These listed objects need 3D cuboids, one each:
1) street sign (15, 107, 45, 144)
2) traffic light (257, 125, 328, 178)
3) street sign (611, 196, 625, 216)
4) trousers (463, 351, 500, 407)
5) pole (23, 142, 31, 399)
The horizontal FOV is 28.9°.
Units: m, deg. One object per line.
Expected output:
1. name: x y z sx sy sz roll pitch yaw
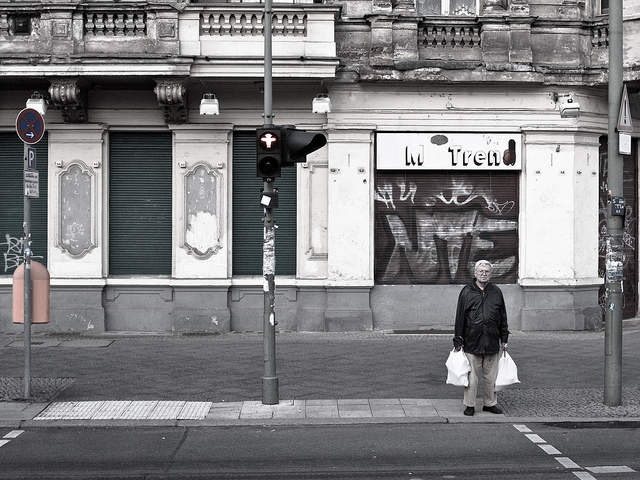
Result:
1. street sign: -4.859 -1.901 20.987 0.251 0.595 0.477 2 5 41
2. traffic light: -0.449 -1.444 20.684 1.265 0.968 0.658 -5 5 -30
3. street sign: 4.961 -0.544 20.477 0.296 0.329 0.111 -4 4 -32
4. trousers: 2.648 2.268 20.212 0.604 0.896 0.233 -3 4 -17
5. pole: -4.869 0.968 20.779 0.183 3.318 0.521 -2 4 -12
